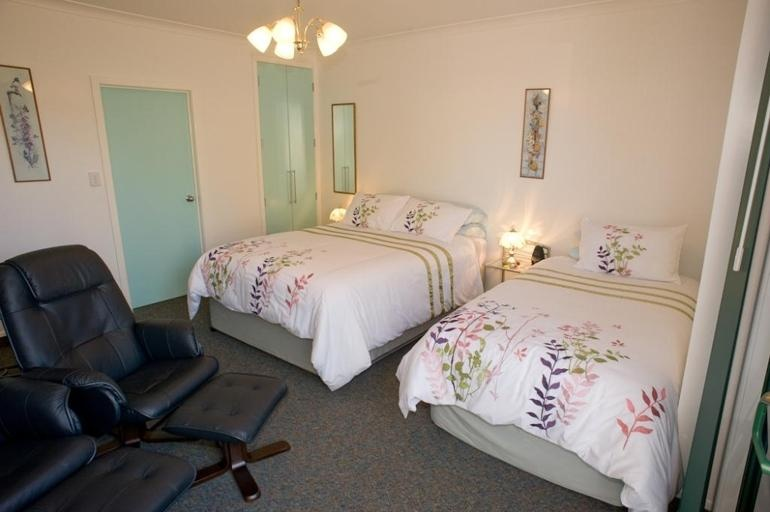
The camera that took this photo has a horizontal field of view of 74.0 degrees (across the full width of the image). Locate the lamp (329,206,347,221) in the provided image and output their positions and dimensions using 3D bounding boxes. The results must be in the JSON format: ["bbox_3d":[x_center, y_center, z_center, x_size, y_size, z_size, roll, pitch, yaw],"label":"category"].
[{"bbox_3d":[-0.606,-0.525,6.449,0.237,0.177,0.236,0,9,-1],"label":"lamp"}]

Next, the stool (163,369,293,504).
[{"bbox_3d":[-1.021,1.174,3.490,0.653,0.581,0.638,8,16,20],"label":"stool"}]

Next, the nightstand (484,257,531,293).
[{"bbox_3d":[1.302,0.149,5.458,0.335,0.443,0.457,9,15,44],"label":"nightstand"}]

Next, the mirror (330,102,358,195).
[{"bbox_3d":[-0.527,-1.335,6.509,0.046,1.149,0.435,17,26,37],"label":"mirror"}]

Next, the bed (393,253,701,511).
[{"bbox_3d":[1.289,0.796,3.837,1.831,1.047,1.849,12,18,33],"label":"bed"}]

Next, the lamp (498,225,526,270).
[{"bbox_3d":[1.294,-0.075,5.228,0.262,0.396,0.262,7,0,-33],"label":"lamp"}]
